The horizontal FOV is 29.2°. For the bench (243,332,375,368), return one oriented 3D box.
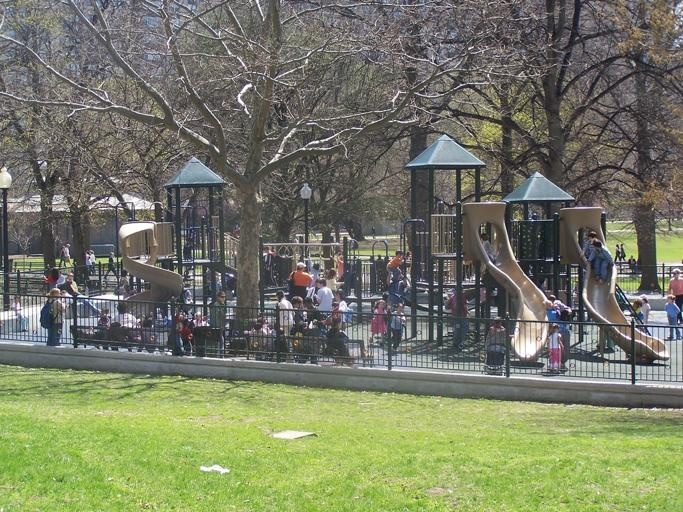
[{"bbox_3d":[-1.183,2.845,40.946,4.526,1.066,0.719,-1,-4,17],"label":"bench"}]

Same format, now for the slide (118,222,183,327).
[{"bbox_3d":[-6.455,0.623,45.333,1.933,3.557,2.284,-7,-3,5],"label":"slide"}]
